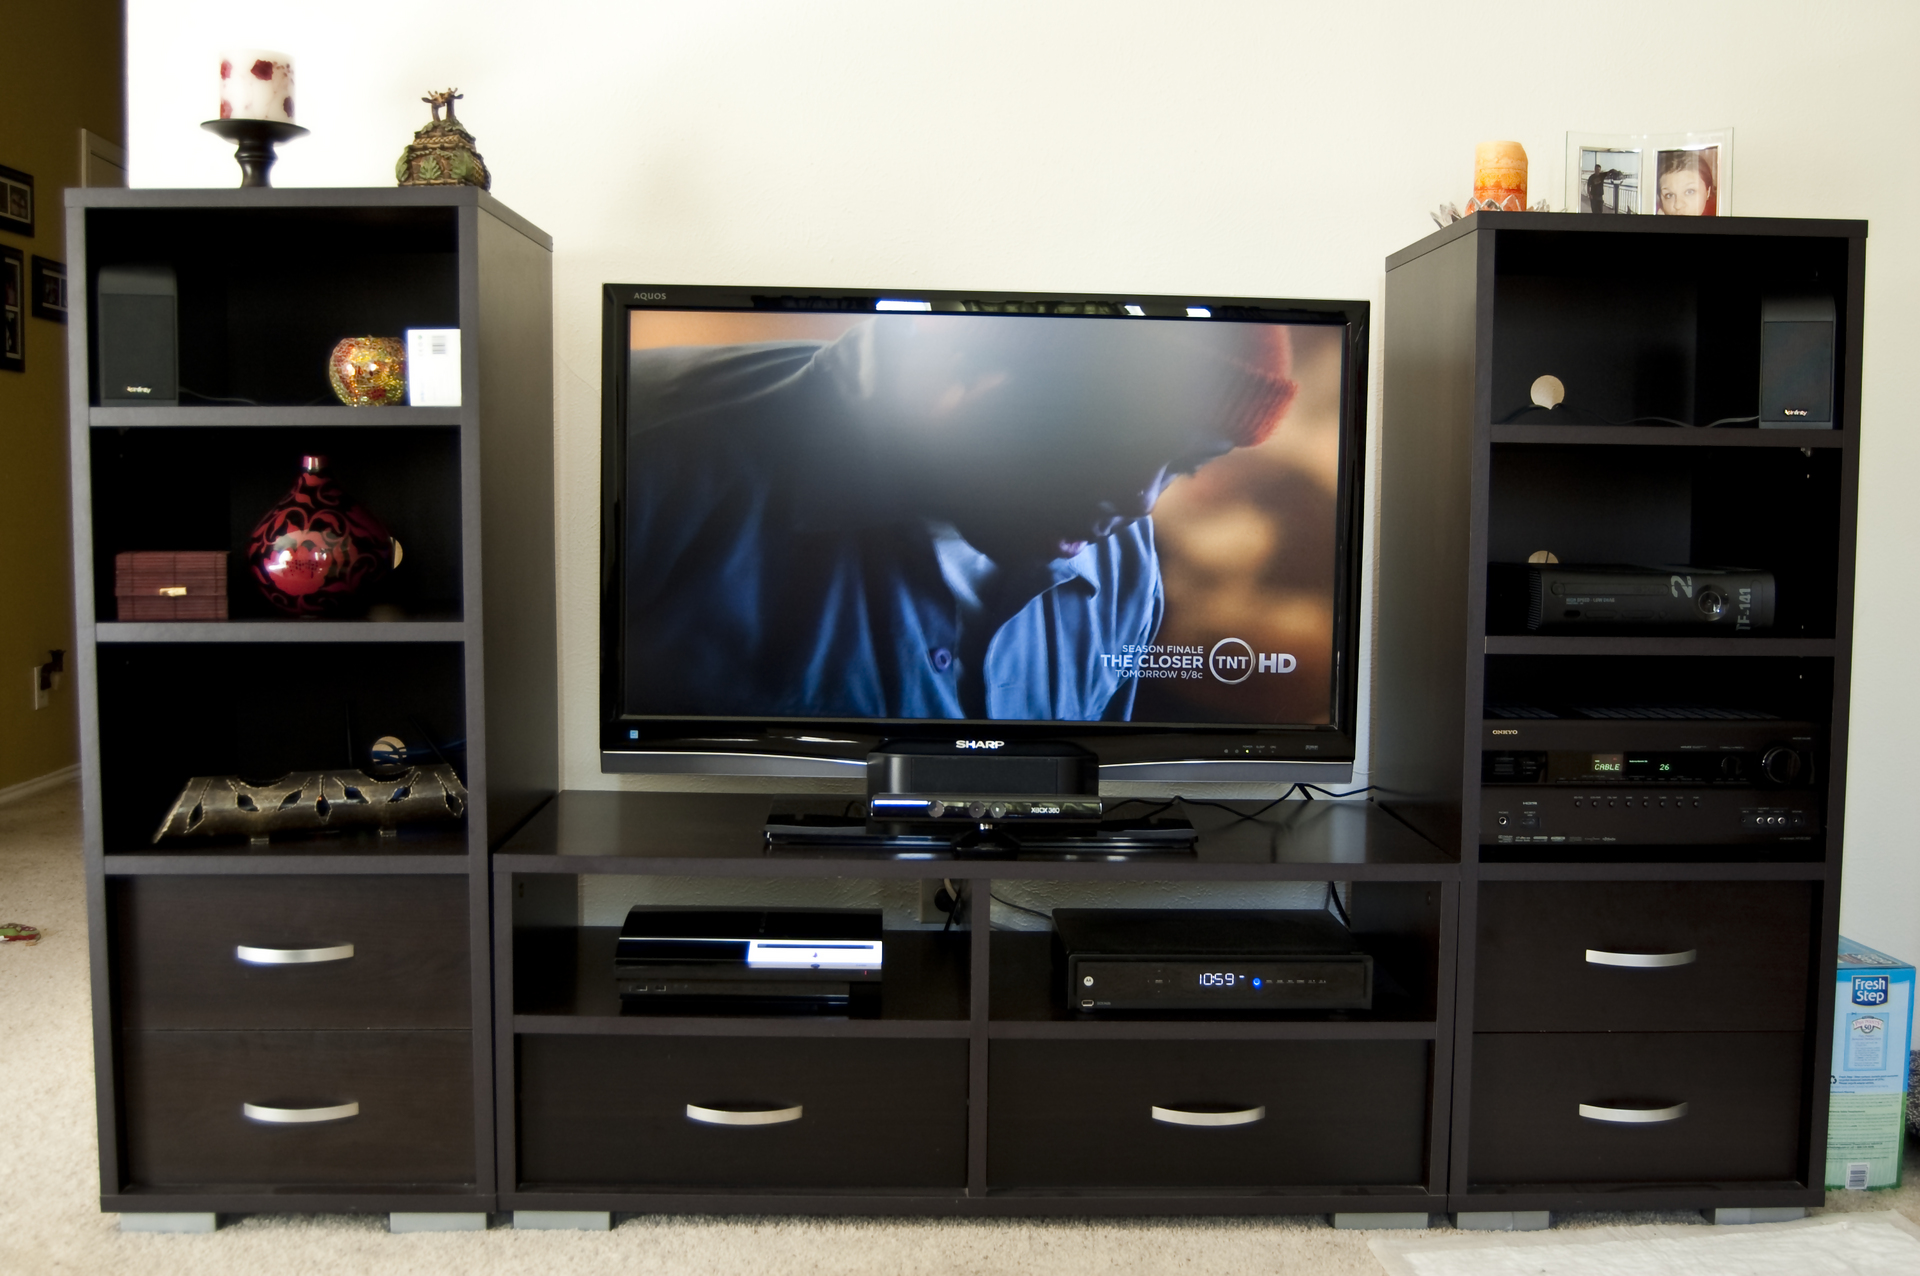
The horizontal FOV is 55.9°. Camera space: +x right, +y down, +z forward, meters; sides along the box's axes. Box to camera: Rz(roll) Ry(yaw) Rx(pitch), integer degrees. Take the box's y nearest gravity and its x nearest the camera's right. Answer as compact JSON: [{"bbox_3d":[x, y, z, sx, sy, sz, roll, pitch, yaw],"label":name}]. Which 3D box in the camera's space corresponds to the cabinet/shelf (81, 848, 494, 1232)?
[{"bbox_3d":[-1.393,0.839,4.076,0.878,0.715,0.466,-2,-1,7],"label":"cabinet/shelf"}]

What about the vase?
[{"bbox_3d":[-1.458,-0.238,4.076,0.321,0.361,0.318,-2,7,-3],"label":"vase"}]

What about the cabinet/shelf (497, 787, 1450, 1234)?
[{"bbox_3d":[0.033,0.805,4.082,2.084,0.866,0.515,0,7,-1],"label":"cabinet/shelf"}]

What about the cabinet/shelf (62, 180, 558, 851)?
[{"bbox_3d":[-1.420,-0.292,4.047,0.934,1.358,0.544,0,7,1],"label":"cabinet/shelf"}]

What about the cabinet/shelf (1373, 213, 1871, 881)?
[{"bbox_3d":[1.421,-0.126,4.444,1.147,1.684,1.027,0,3,-10],"label":"cabinet/shelf"}]

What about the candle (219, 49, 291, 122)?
[{"bbox_3d":[-1.525,-1.186,3.896,0.168,0.140,0.141,2,6,-2],"label":"candle"}]

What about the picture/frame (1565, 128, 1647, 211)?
[{"bbox_3d":[1.435,-1.036,4.026,0.207,0.206,0.031,1,0,3],"label":"picture/frame"}]

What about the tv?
[{"bbox_3d":[0.029,-0.202,4.036,1.379,0.827,0.053,1,0,-2],"label":"tv"}]

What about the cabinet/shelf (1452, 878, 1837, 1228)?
[{"bbox_3d":[1.450,0.865,4.153,0.847,0.722,0.564,1,1,-4],"label":"cabinet/shelf"}]

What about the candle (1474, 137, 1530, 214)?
[{"bbox_3d":[1.199,-1.023,3.997,0.117,0.157,0.118,0,7,-1],"label":"candle"}]

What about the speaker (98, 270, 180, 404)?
[{"bbox_3d":[-1.751,-0.650,3.942,0.194,0.291,0.178,0,4,0],"label":"speaker"}]
